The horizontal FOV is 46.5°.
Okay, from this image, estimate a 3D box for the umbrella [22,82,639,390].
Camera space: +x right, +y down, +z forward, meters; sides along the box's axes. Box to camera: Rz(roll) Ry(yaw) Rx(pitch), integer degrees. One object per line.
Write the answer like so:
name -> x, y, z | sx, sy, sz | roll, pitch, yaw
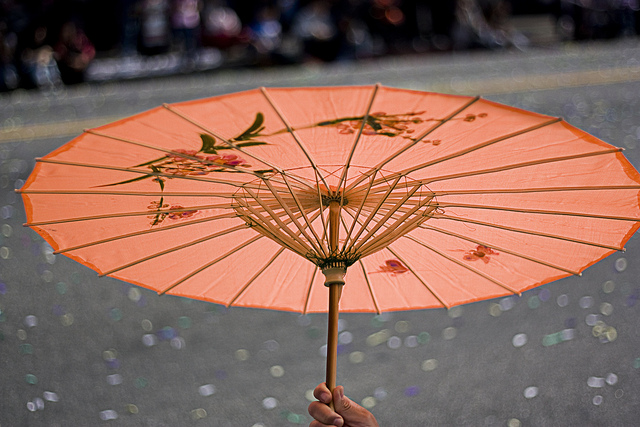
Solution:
umbrella -> 0.009, 0.013, 2.173 | 1.042, 1.300, 0.887 | 104, 169, -52
